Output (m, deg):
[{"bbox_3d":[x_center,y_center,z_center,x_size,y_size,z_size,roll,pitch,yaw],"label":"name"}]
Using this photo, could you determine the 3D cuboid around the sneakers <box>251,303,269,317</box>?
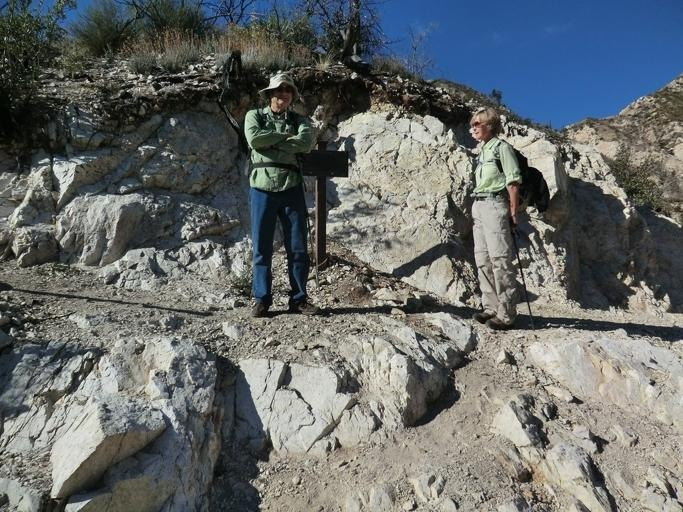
[{"bbox_3d":[-0.957,0.644,5.505,0.094,0.270,0.130,4,74,2],"label":"sneakers"}]

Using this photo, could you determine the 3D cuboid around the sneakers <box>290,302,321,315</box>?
[{"bbox_3d":[-0.448,0.652,5.750,0.377,0.146,0.213,-1,84,16],"label":"sneakers"}]
